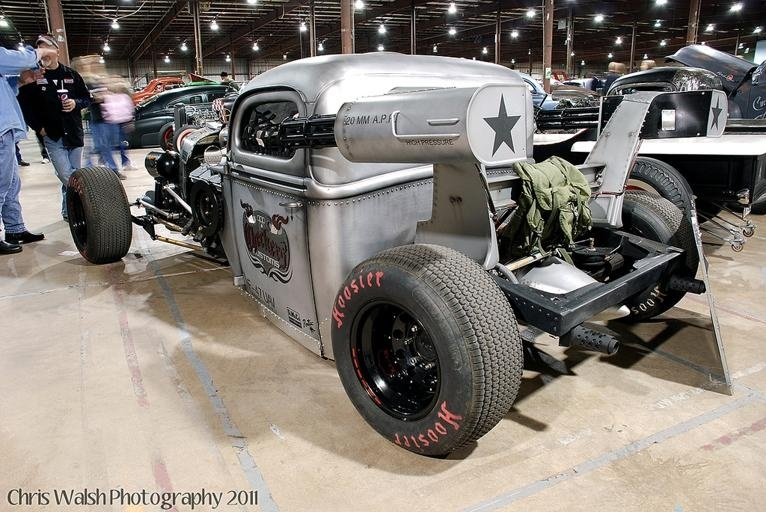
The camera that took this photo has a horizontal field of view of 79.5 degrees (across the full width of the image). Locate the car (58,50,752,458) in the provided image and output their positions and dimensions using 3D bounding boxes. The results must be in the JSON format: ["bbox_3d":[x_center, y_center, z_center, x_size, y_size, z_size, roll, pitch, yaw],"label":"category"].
[{"bbox_3d":[-0.415,-0.253,4.145,2.530,1.593,4.814,-15,23,-43],"label":"car"}]
